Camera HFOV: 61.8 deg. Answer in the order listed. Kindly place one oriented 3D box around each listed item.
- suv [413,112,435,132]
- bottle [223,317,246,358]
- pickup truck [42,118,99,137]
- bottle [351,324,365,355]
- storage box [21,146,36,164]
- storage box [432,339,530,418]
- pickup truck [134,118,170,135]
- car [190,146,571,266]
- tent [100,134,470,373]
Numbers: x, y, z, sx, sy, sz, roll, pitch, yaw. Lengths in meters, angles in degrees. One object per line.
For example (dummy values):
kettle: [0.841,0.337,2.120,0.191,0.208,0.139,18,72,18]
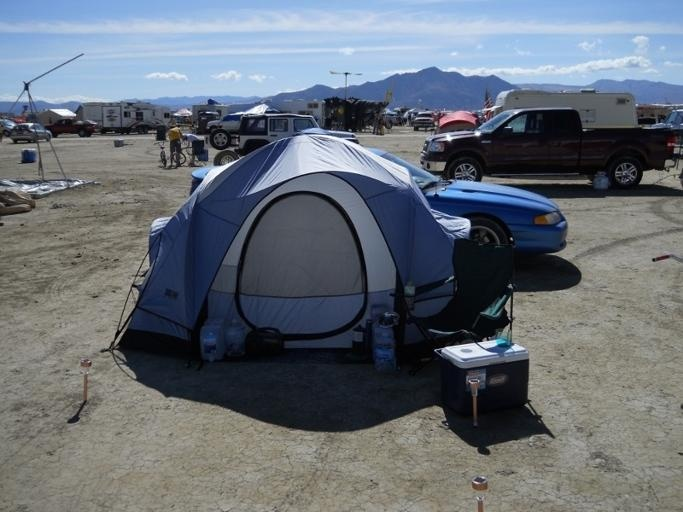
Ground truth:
suv: [8.890,-14.428,60.600,1.790,1.421,3.434,-1,6,4]
bottle: [-1.203,0.894,6.479,0.269,0.416,0.275,-3,18,1]
pickup truck: [-24.336,-11.606,51.224,3.968,1.187,1.895,2,14,-2]
bottle: [0.199,0.918,6.437,0.146,0.278,0.225,-3,18,2]
storage box: [-13.808,-4.434,25.104,0.521,0.542,0.642,-6,18,-9]
storage box: [1.341,1.114,5.427,0.878,0.491,0.497,-3,8,-22]
pickup truck: [-19.074,-12.859,56.203,1.355,1.246,3.173,13,23,40]
car: [0.976,-0.722,9.164,5.416,1.313,2.229,0,14,-4]
tent: [-0.582,-0.022,7.537,4.505,1.934,2.575,0,20,0]
